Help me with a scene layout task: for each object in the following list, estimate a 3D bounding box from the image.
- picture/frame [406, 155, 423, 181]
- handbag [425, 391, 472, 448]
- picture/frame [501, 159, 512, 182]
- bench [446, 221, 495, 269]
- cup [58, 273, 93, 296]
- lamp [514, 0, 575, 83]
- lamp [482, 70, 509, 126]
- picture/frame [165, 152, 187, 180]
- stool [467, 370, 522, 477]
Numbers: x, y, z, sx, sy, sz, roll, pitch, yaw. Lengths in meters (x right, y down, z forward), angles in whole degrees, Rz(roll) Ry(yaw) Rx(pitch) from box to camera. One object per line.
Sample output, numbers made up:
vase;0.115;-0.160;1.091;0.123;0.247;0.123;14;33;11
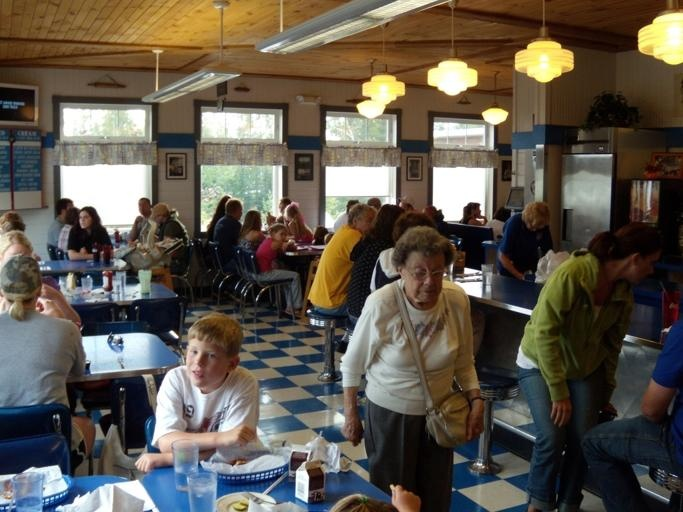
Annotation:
picture/frame;1.415;-1.730;11.702;0.463;0.606;0.062;-2;5;-28
handbag;0.494;0.764;2.796;0.118;0.227;0.215;-2;17;29
picture/frame;3.493;-1.805;12.677;0.260;0.464;0.059;-6;10;-33
bench;1.853;-0.151;8.426;0.232;0.445;0.699;-6;13;-29
cup;-2.644;0.281;5.914;0.276;0.287;0.166;3;3;23
lamp;1.810;-1.807;5.331;0.475;0.456;0.274;2;9;15
lamp;2.557;-2.621;9.930;0.389;0.890;0.422;2;5;16
picture/frame;-2.811;-1.521;10.059;0.423;0.543;0.052;-3;8;-31
stool;1.036;1.139;4.051;0.303;0.704;0.601;2;9;14
